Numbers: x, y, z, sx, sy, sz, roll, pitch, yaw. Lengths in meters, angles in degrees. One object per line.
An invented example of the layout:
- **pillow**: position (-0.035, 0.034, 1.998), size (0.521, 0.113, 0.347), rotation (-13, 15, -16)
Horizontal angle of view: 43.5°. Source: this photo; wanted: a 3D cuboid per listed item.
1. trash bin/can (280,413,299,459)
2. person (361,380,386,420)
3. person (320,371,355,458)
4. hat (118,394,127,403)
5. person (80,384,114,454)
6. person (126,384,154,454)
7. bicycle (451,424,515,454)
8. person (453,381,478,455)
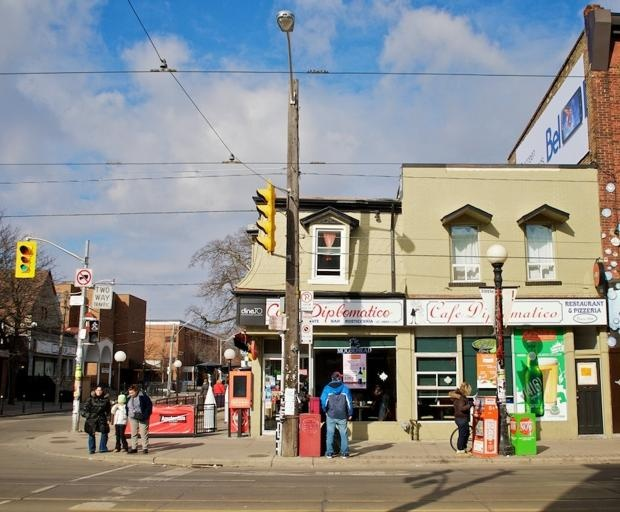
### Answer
- **trash bin/can**: position (-0.598, 5.266, 22.712), size (0.515, 1.173, 0.217), rotation (1, -13, -3)
- **person**: position (2.197, 5.066, 26.695), size (0.813, 1.538, 0.949), rotation (2, -15, 3)
- **person**: position (0.756, 4.729, 23.191), size (0.900, 2.519, 0.948), rotation (0, -13, 1)
- **hat**: position (-5.855, 4.451, 24.129), size (0.246, 0.254, 0.256), rotation (1, -1, 29)
- **person**: position (-6.541, 5.055, 23.882), size (0.749, 2.059, 0.844), rotation (1, -13, 0)
- **person**: position (-5.230, 5.007, 23.712), size (0.740, 2.026, 1.256), rotation (3, -13, -13)
- **bicycle**: position (5.172, 5.656, 23.895), size (1.668, 1.089, 0.766), rotation (0, -12, 10)
- **person**: position (4.554, 4.812, 23.131), size (0.576, 2.057, 0.876), rotation (-2, -13, 11)
